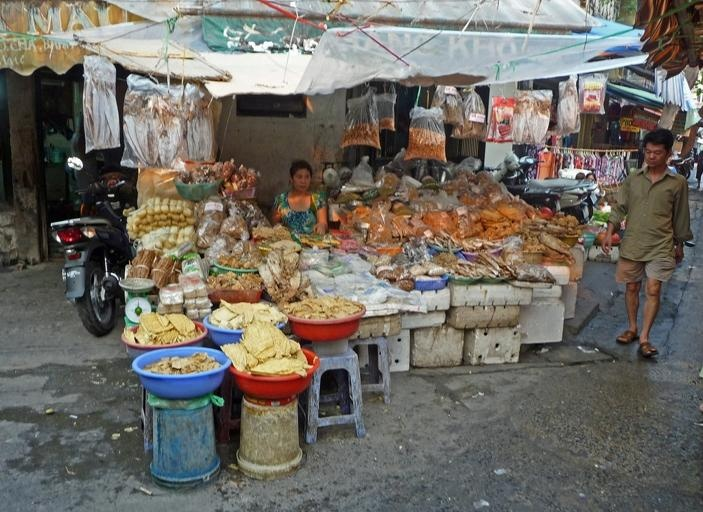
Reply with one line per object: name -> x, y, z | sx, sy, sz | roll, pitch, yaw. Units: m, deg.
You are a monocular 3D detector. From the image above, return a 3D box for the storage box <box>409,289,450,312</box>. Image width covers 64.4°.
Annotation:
storage box -> 0.822, 0.407, 5.356 | 0.287, 0.226, 0.147 | 1, -14, -7

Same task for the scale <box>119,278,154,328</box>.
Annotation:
scale -> -1.781, 0.388, 4.711 | 0.295, 0.378, 0.283 | 1, 17, 13

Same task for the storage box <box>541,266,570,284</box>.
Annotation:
storage box -> 2.235, 0.186, 6.065 | 0.294, 0.147, 0.207 | -1, 3, -44

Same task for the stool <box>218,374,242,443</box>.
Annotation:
stool -> -0.964, 1.163, 4.491 | 0.172, 0.521, 0.369 | 0, 11, 6

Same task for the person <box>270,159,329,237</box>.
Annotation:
person -> -0.617, -0.654, 6.783 | 0.696, 1.054, 0.646 | -4, 16, -24

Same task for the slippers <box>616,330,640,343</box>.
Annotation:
slippers -> 3.092, 0.898, 6.307 | 0.279, 0.095, 0.123 | 1, -3, -44

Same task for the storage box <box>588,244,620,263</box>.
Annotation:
storage box -> 4.165, -0.033, 9.204 | 0.267, 0.173, 0.276 | 3, 9, 14

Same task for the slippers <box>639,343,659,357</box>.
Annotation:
slippers -> 3.178, 0.989, 5.980 | 0.186, 0.144, 0.210 | 4, 13, 28

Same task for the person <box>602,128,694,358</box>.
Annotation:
person -> 3.200, -0.159, 6.065 | 0.825, 2.353, 0.591 | 6, 13, 32

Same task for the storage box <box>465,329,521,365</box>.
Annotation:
storage box -> 1.598, 0.956, 5.777 | 0.303, 0.384, 0.551 | 25, -22, -33

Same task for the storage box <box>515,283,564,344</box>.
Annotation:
storage box -> 1.996, 0.602, 6.086 | 0.362, 0.614, 0.583 | 6, -4, 3

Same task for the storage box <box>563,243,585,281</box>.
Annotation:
storage box -> 2.509, 0.061, 6.339 | 0.203, 0.270, 0.385 | 0, 16, 5

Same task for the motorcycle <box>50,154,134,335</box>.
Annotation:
motorcycle -> -2.751, -0.019, 6.063 | 0.715, 1.652, 1.036 | -3, 11, -5

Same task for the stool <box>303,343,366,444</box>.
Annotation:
stool -> -0.139, 1.086, 4.620 | 0.477, 0.681, 0.518 | -2, 11, -1

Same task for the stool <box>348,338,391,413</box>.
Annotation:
stool -> 0.109, 0.991, 5.048 | 0.403, 0.580, 0.380 | -3, 4, -19
